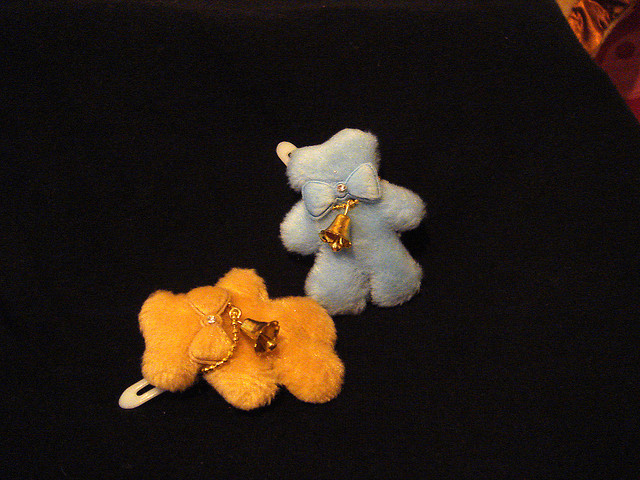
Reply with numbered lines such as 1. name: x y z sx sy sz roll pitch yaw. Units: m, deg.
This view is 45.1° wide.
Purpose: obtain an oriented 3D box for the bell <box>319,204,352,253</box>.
1. bell: 0.062 -0.046 2.723 0.091 0.092 0.157 24 69 17

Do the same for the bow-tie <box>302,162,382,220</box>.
1. bow-tie: 0.084 -0.166 2.742 0.313 0.121 0.173 -13 91 7

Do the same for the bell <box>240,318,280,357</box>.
1. bell: -0.215 0.332 2.660 0.125 0.154 0.144 16 96 22
